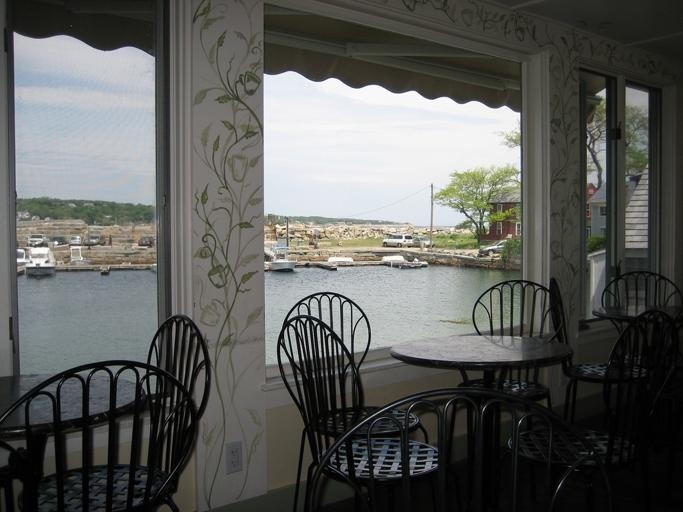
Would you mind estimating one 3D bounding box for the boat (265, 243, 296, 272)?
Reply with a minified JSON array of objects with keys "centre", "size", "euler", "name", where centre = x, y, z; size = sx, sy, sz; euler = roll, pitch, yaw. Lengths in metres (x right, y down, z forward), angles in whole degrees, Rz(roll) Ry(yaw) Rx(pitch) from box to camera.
[{"centre":[-0.377,0.004,3.320],"size":[0.147,0.171,0.429],"euler":[-1,-3,-8],"name":"boat"}]
